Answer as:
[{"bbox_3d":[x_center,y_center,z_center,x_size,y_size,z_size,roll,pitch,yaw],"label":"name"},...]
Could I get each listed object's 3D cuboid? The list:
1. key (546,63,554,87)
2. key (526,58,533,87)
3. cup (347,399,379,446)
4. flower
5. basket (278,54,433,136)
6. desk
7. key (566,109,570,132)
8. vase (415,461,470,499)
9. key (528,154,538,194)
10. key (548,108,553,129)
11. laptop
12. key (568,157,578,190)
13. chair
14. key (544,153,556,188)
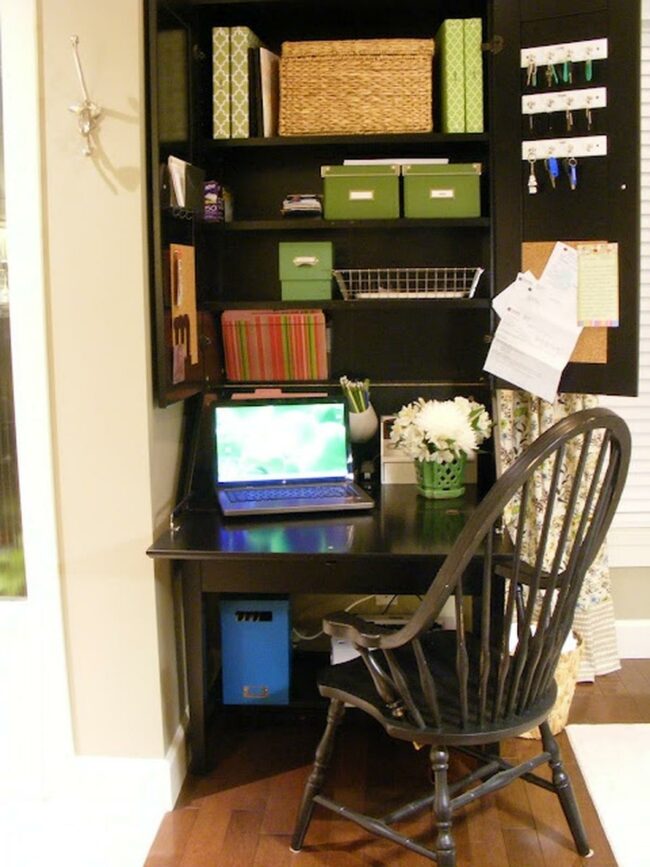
[{"bbox_3d":[0.620,-0.980,2.087,0.026,0.058,0.005,2,9,22],"label":"key"},{"bbox_3d":[0.573,-0.991,2.098,0.023,0.062,0.010,-1,8,4],"label":"key"},{"bbox_3d":[0.119,-0.022,2.339,0.095,0.106,0.104,-2,10,0],"label":"cup"},{"bbox_3d":[0.307,-0.054,2.170,0.209,0.119,0.203,-13,14,-43],"label":"flower"},{"bbox_3d":[0.082,-0.963,2.255,0.325,0.188,0.258,0,17,4],"label":"basket"},{"bbox_3d":[-0.020,0.329,2.100,0.891,0.765,0.767,-1,23,1],"label":"desk"},{"bbox_3d":[0.671,-0.853,2.081,0.019,0.052,0.005,2,9,21],"label":"key"},{"bbox_3d":[0.331,0.135,2.146,0.117,0.104,0.104,0,3,-1],"label":"vase"},{"bbox_3d":[0.584,-0.718,2.126,0.029,0.098,0.013,-1,8,-1],"label":"key"},{"bbox_3d":[0.627,-0.859,2.102,0.017,0.048,0.004,2,9,20],"label":"key"},{"bbox_3d":[-0.113,-0.005,2.092,0.363,0.283,0.325,-2,8,-11],"label":"laptop"},{"bbox_3d":[0.684,-0.711,2.090,0.026,0.082,0.009,1,9,18],"label":"key"},{"bbox_3d":[0.309,0.487,1.807,0.730,1.466,0.572,-8,13,-43],"label":"chair"},{"bbox_3d":[0.629,-0.731,2.100,0.030,0.069,0.015,10,18,41],"label":"key"}]
